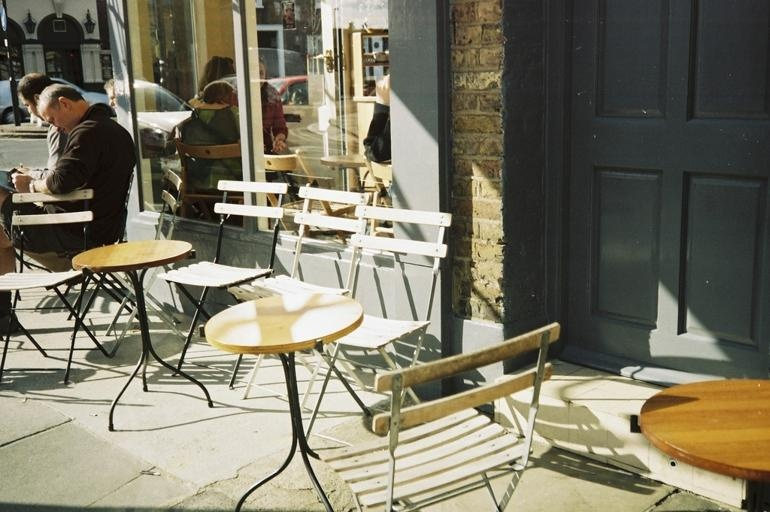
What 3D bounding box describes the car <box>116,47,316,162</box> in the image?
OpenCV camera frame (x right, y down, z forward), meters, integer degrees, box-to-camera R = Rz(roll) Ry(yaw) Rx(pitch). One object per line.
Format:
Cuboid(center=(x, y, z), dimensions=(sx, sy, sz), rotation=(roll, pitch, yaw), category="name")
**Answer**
Cuboid(center=(-1.659, -1.407, 7.414), dimensions=(1.677, 0.830, 0.982), rotation=(6, 20, 13), category="car")
